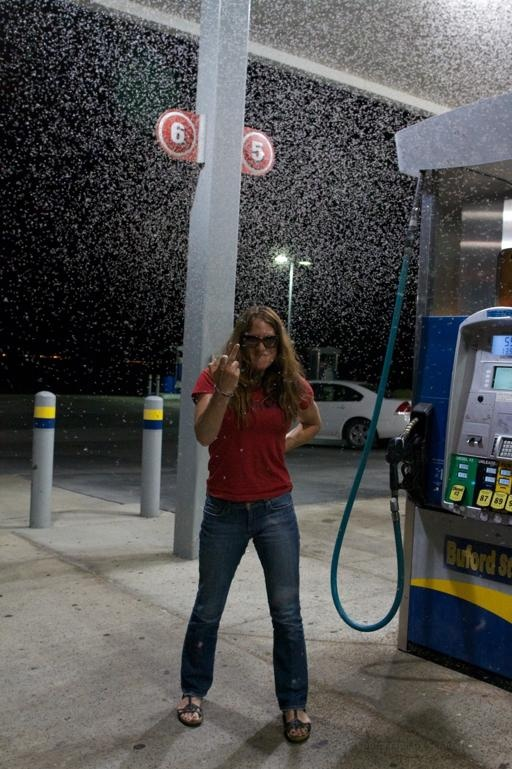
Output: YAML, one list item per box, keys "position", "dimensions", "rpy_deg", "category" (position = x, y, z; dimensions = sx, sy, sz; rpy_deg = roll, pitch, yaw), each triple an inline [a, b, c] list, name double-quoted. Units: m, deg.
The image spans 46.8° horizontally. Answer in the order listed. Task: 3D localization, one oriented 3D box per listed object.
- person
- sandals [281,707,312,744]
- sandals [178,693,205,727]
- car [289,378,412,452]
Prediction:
- position: [-0.016, 0.448, 2.016]
  dimensions: [0.464, 1.437, 0.271]
  rpy_deg: [1, -1, -8]
  category: "person"
- position: [0.136, 1.130, 1.978]
  dimensions: [0.097, 0.086, 0.157]
  rpy_deg: [1, -2, 3]
  category: "sandals"
- position: [-0.221, 1.109, 2.009]
  dimensions: [0.054, 0.052, 0.122]
  rpy_deg: [3, 0, -5]
  category: "sandals"
- position: [2.132, 0.626, 12.433]
  dimensions: [2.693, 1.082, 1.228]
  rpy_deg: [4, -1, 34]
  category: "car"
